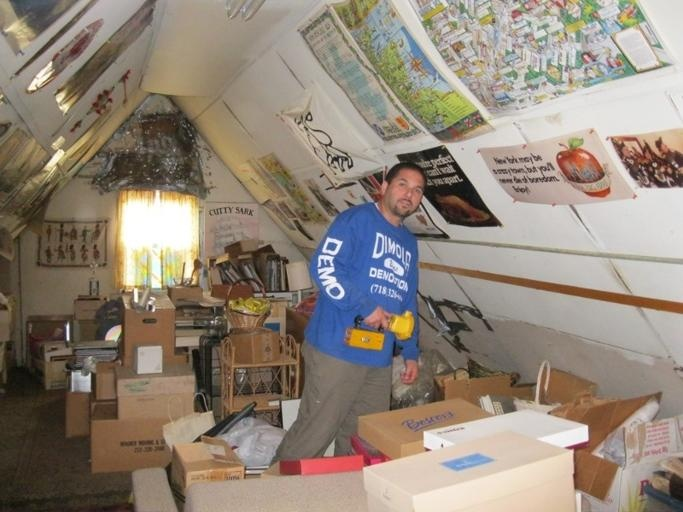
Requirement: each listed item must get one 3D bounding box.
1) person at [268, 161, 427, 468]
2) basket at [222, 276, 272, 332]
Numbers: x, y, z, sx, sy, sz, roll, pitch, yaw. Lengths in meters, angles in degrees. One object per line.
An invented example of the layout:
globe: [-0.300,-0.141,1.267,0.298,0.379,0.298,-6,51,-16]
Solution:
person: [0.054,0.297,2.626,0.929,1.502,0.480,-6,-7,-9]
basket: [-0.749,0.392,4.244,0.456,0.517,0.533,2,-4,-30]
